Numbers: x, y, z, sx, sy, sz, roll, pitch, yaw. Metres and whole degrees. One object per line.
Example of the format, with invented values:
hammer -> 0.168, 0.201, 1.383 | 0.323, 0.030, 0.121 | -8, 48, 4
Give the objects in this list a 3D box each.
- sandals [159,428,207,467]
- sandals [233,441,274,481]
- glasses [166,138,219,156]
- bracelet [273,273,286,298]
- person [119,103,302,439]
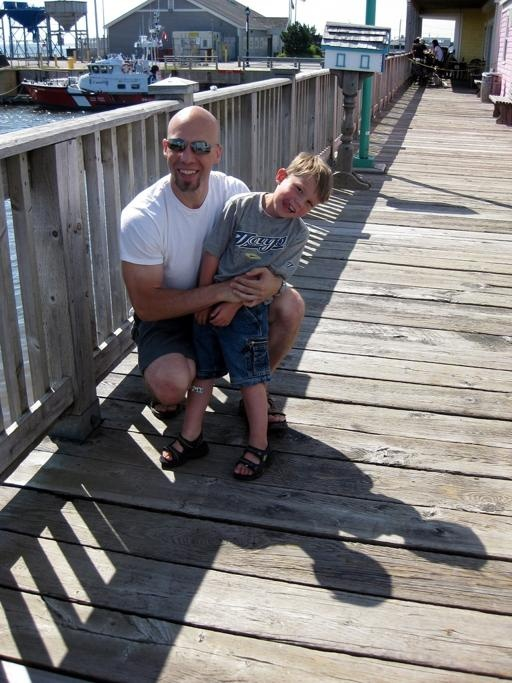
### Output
sandals -> -0.231, 0.332, 1.805 | 0.068, 0.062, 0.160 | 12, 24, 42
sandals -> -0.012, 0.361, 1.738 | 0.065, 0.053, 0.138 | 7, 16, 26
glasses -> -0.191, -0.554, 1.608 | 0.126, 0.045, 0.062 | -2, 21, -7
bracelet -> 0.079, -0.172, 1.836 | 0.016, 0.050, 0.054 | 10, 26, -22
person -> -0.150, -0.209, 1.848 | 0.568, 1.031, 0.415 | -6, 23, -14
